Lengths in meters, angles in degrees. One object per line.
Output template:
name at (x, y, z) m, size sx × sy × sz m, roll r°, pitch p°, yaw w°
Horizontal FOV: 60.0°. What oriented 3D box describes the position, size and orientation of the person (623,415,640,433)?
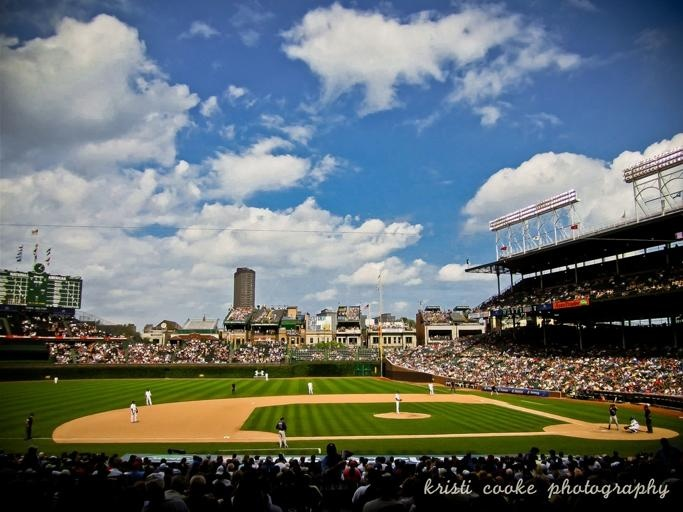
person at (19.973, 11.535, 40.630) m, size 1.211 × 1.341 × 1.049 m, roll 12°, pitch -16°, yaw -28°
